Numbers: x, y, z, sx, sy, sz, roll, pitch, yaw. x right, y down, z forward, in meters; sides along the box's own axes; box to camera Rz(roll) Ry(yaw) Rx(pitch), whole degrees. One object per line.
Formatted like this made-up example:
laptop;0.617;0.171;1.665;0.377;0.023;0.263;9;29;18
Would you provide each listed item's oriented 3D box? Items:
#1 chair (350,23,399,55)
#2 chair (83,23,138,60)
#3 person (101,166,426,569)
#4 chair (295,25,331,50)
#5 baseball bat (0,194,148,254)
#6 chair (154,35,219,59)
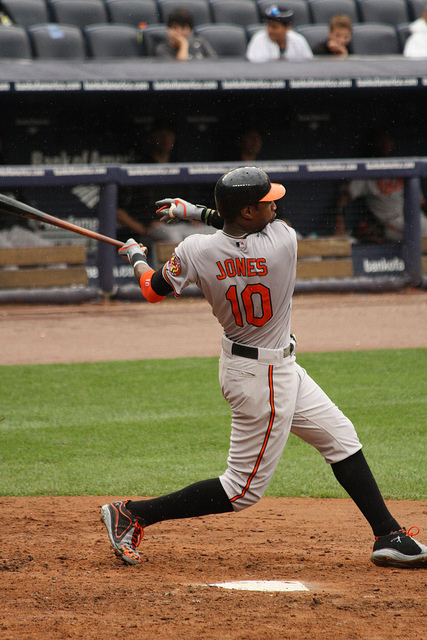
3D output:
chair;1.097;-1.890;7.415;0.314;0.248;0.471;1;7;10
chair;-0.649;-1.728;6.848;0.338;0.235;0.320;-1;8;-4
person;0.153;0.166;3.750;1.092;1.347;0.424;-1;9;-3
chair;0.662;-1.888;7.337;0.226;0.195;0.469;0;7;4
baseball bat;-0.764;-0.492;5.683;0.969;0.092;0.125;24;13;-7
chair;-0.175;-1.652;6.703;0.374;0.191;0.538;-1;7;-2
